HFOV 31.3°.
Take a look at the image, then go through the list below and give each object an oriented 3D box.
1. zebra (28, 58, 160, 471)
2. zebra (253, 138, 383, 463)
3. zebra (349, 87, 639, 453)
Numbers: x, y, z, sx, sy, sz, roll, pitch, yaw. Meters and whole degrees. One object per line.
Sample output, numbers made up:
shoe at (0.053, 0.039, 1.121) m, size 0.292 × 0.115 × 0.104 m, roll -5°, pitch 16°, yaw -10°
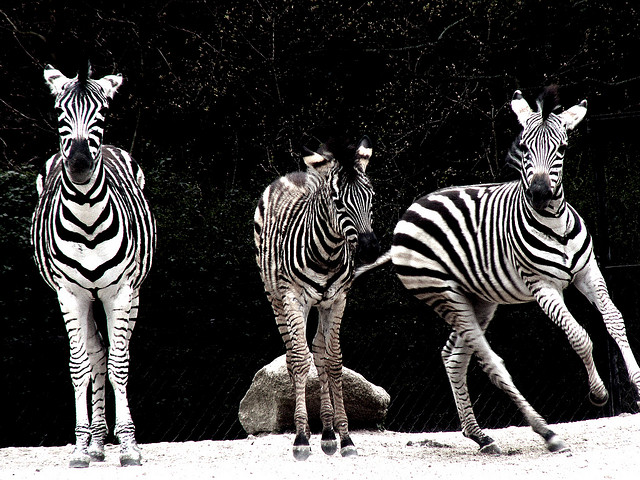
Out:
zebra at (-2.216, 0.267, 11.536) m, size 1.159 × 4.052 × 1.861 m, roll -4°, pitch 11°, yaw -9°
zebra at (-0.048, 0.600, 12.399) m, size 0.993 × 3.105 × 4.188 m, roll -3°, pitch 5°, yaw -10°
zebra at (1.990, 0.199, 11.617) m, size 2.226 × 3.388 × 1.132 m, roll 9°, pitch 15°, yaw 43°
